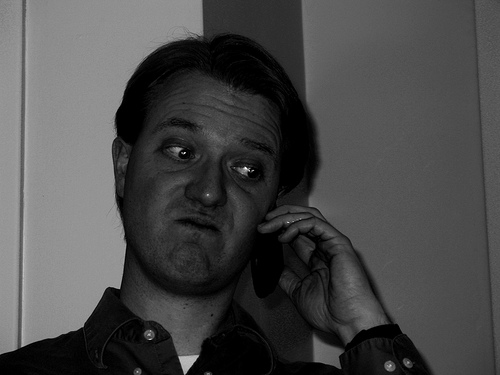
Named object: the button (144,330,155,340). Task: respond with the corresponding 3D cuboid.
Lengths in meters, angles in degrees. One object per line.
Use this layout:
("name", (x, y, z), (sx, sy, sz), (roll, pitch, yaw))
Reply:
("button", (-0.332, 0.486, 2.017), (0.034, 0.028, 0.017), (2, 19, -6))

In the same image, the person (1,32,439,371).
("person", (-0.070, 0.053, 2.239), (1.327, 1.143, 0.789), (3, 19, -5))

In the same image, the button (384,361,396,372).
("button", (0.471, 0.600, 2.057), (0.030, 0.031, 0.031), (2, 6, 6))
